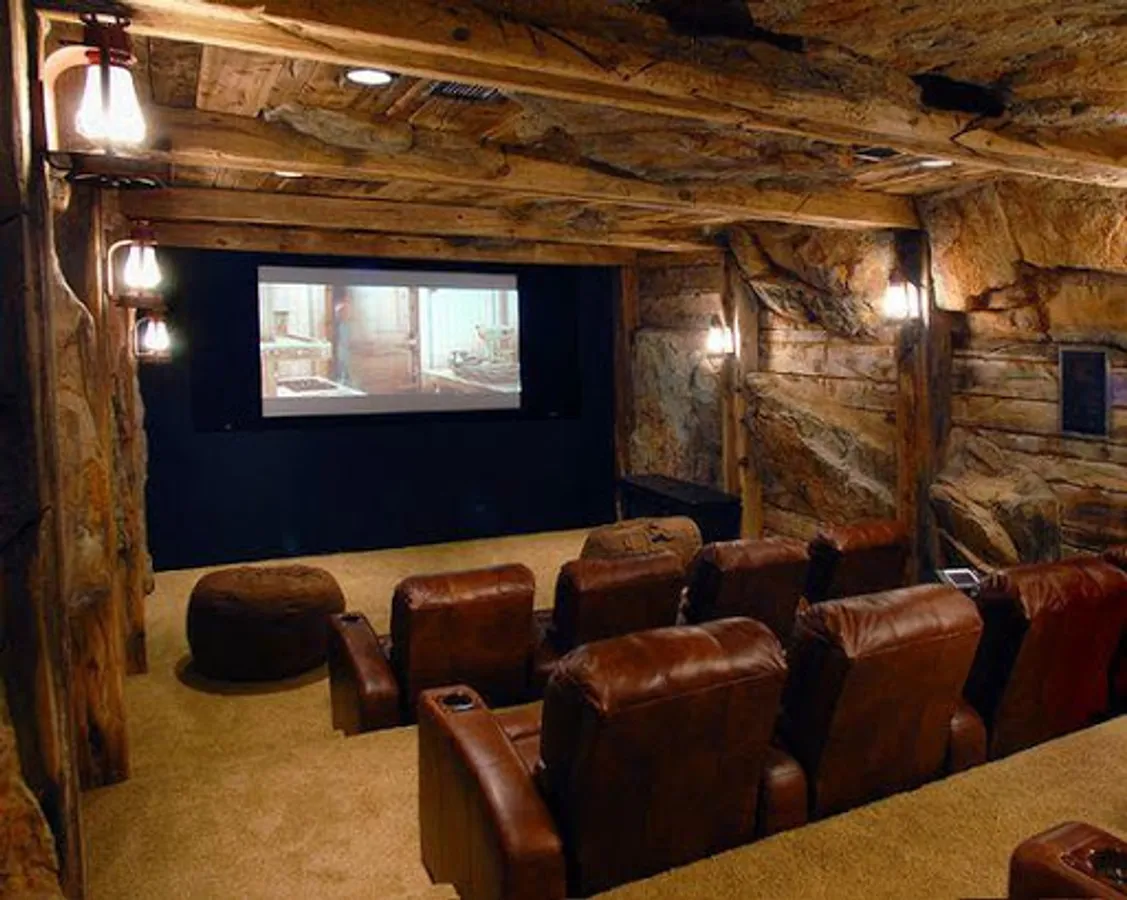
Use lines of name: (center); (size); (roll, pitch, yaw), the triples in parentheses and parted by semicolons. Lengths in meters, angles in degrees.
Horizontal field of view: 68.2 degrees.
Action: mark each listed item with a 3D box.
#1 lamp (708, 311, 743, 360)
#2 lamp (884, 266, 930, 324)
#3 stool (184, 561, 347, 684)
lamp: (1.446, -0.891, 7.551); (0.241, 0.375, 0.169); (-5, 9, -19)
lamp: (2.386, -0.970, 5.870); (0.242, 0.355, 0.287); (-3, 8, -6)
stool: (-1.860, 1.013, 5.372); (0.926, 0.535, 0.981); (10, 13, 40)
